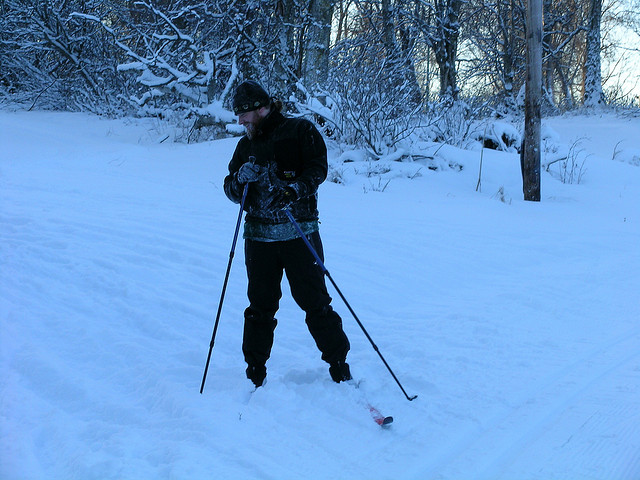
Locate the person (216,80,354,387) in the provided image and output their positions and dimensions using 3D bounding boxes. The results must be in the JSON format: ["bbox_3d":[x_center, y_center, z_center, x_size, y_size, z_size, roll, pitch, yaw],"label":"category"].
[{"bbox_3d":[-0.393,-0.039,6.484,1.274,3.286,0.607,0,9,0],"label":"person"}]

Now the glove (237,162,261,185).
[{"bbox_3d":[-0.745,-0.697,6.349,0.248,0.228,0.171,-1,9,-7],"label":"glove"}]
